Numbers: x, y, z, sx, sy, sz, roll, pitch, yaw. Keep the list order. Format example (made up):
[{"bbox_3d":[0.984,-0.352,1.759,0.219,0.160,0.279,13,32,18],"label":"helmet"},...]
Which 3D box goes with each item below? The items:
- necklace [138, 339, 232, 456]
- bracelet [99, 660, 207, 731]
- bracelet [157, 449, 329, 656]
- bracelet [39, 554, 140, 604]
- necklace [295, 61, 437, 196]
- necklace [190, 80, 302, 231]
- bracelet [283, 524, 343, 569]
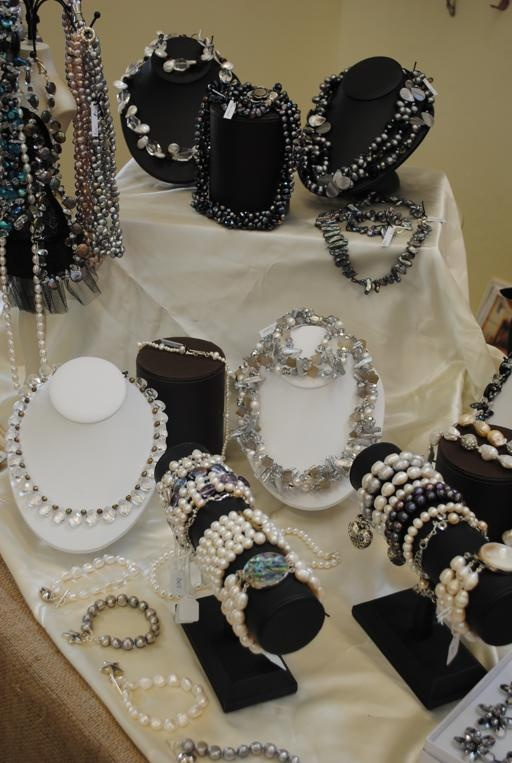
[{"bbox_3d":[-0.121,0.025,1.141,0.128,0.186,0.114,-18,44,-23],"label":"necklace"},{"bbox_3d":[-0.125,0.378,0.823,0.137,0.025,0.082,10,29,3],"label":"bracelet"},{"bbox_3d":[-0.021,0.216,0.863,0.099,0.101,0.246,-13,35,-24],"label":"bracelet"},{"bbox_3d":[-0.243,0.274,1.003,0.099,0.022,0.054,-17,24,-37],"label":"bracelet"},{"bbox_3d":[0.203,-0.468,1.292,0.228,0.249,0.188,12,29,6],"label":"necklace"},{"bbox_3d":[-0.030,-0.416,1.268,0.209,0.256,0.110,16,30,13],"label":"necklace"},{"bbox_3d":[0.093,0.260,1.116,0.045,0.014,0.072,8,23,-38],"label":"bracelet"}]
